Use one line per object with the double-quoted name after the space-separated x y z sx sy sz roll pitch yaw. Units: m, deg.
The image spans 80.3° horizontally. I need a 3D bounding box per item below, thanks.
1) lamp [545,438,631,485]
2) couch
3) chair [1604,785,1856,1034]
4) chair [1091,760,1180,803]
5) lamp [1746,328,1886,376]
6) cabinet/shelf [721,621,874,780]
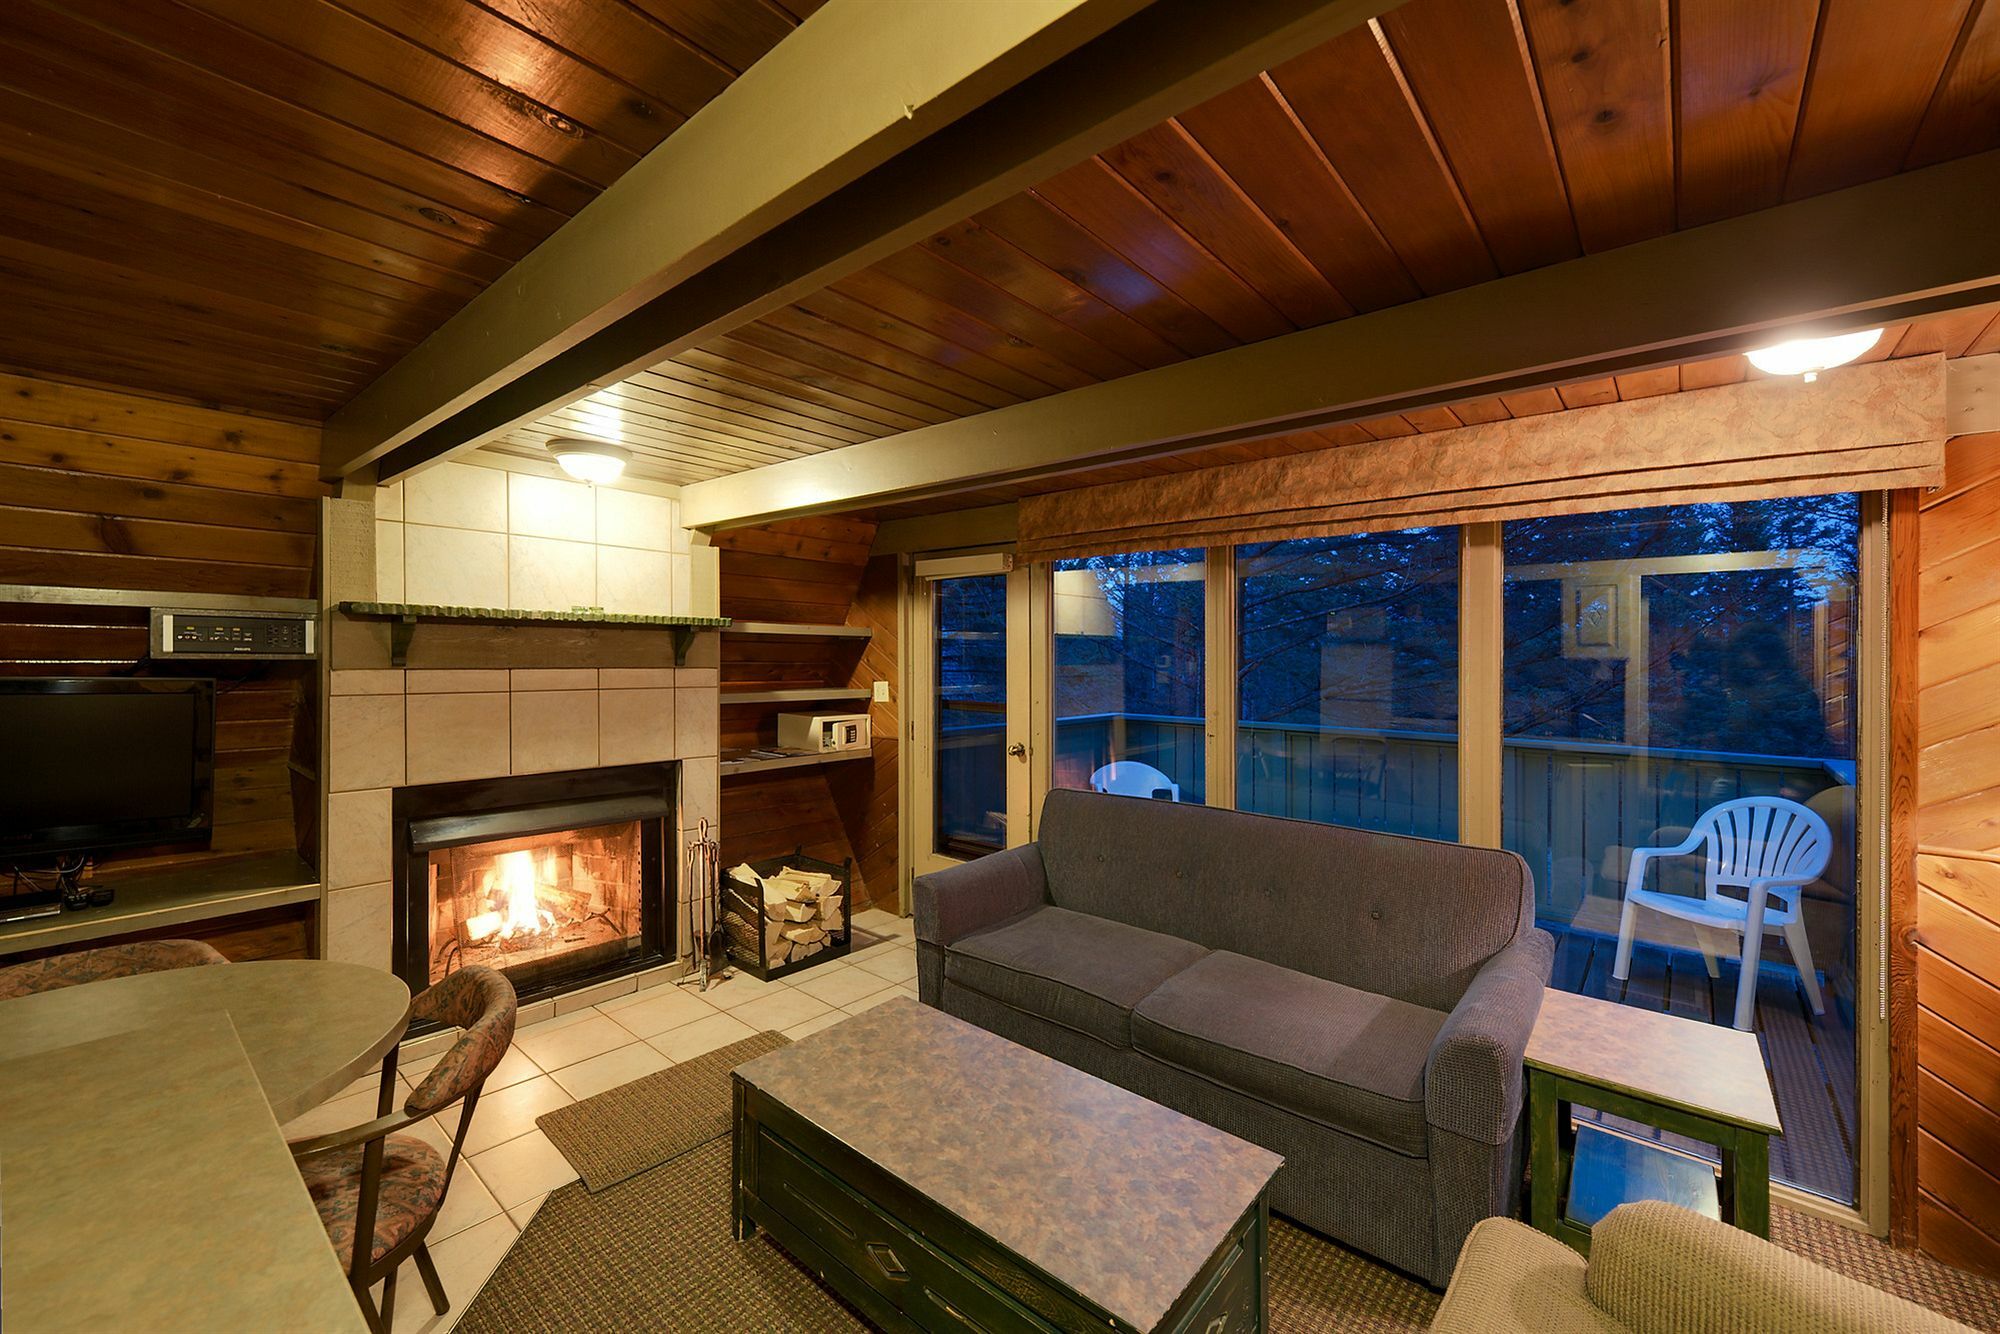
-1.580 -0.801 4.568 0.208 0.076 0.201 7 -12 -38 "lamp"
0.771 1.127 4.437 2.261 0.896 1.048 9 18 38 "couch"
2.546 0.845 4.404 0.801 0.965 0.766 4 -3 -24 "chair"
0.647 0.530 5.547 0.256 0.278 0.221 1 -5 -16 "chair"
2.340 -0.894 3.380 0.263 0.061 0.253 -1 3 23 "lamp"
-1.159 0.137 6.239 0.903 0.667 0.289 -2 8 -45 "cabinet/shelf"
